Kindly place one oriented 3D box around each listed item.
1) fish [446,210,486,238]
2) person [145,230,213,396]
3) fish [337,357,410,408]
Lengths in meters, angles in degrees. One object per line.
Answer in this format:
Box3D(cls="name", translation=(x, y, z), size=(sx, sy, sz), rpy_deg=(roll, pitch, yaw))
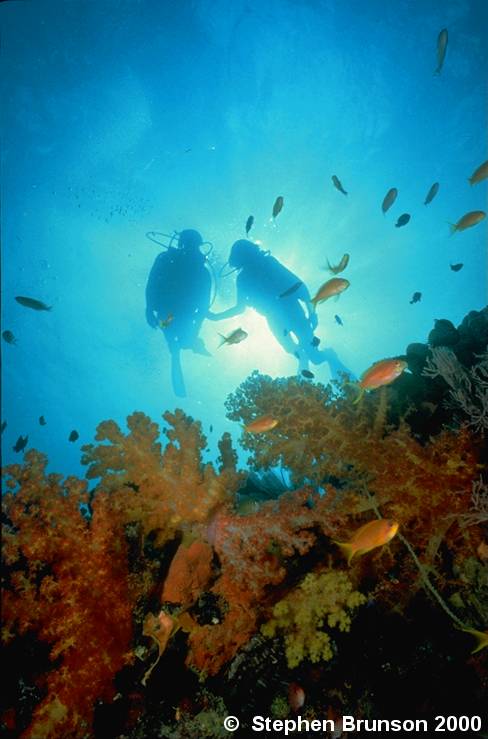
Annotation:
Box3D(cls="fish", translation=(2.693, -1.780, 7.272), size=(0.279, 0.144, 0.481), rpy_deg=(-6, -20, -21))
Box3D(cls="person", translation=(-1.106, -0.992, 10.027), size=(1.314, 0.765, 2.837), rpy_deg=(16, -48, -3))
Box3D(cls="fish", translation=(1.367, 0.186, 6.282), size=(0.788, 0.361, 0.181), rpy_deg=(-30, 3, 15))
